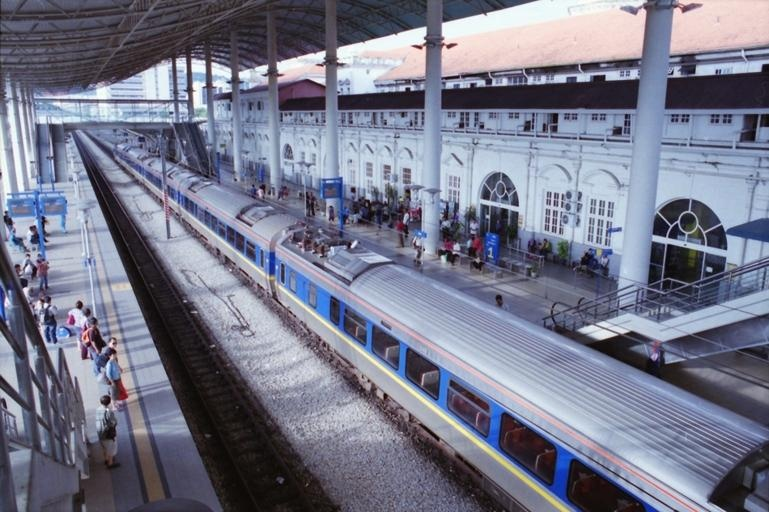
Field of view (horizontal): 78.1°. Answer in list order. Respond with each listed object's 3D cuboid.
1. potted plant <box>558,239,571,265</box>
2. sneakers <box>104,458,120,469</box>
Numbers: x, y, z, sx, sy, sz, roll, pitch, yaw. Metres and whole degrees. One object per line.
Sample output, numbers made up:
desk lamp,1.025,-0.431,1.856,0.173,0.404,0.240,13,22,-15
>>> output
potted plant,9.303,-0.243,24.496,0.655,1.462,0.724,2,27,12
sneakers,-6.655,5.086,11.578,0.113,0.152,0.382,22,21,10
